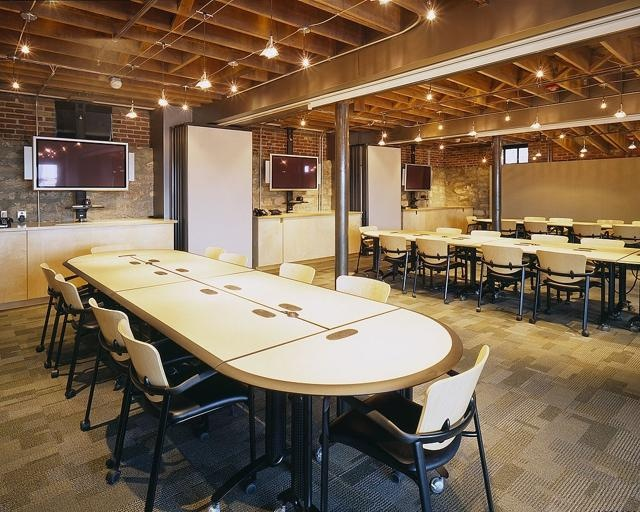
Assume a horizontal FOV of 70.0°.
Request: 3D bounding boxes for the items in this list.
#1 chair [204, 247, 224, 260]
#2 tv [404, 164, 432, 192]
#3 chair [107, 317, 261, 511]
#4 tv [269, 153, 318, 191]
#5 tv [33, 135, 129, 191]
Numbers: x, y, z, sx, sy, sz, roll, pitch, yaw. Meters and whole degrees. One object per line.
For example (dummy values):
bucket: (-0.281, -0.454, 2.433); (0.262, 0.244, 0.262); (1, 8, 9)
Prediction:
chair: (-1.287, -0.027, 5.511); (0.196, 0.206, 0.205); (-1, -6, 34)
tv: (2.638, -2.136, 12.473); (1.022, 0.499, 0.134); (-3, 7, -39)
chair: (-0.955, 0.954, 3.062); (0.915, 1.126, 0.884); (-7, 8, -33)
tv: (-0.541, -1.748, 9.678); (1.387, 0.722, 0.041); (-8, 15, -42)
tv: (-3.693, -1.396, 7.046); (0.166, 0.779, 1.543); (18, 17, 26)
